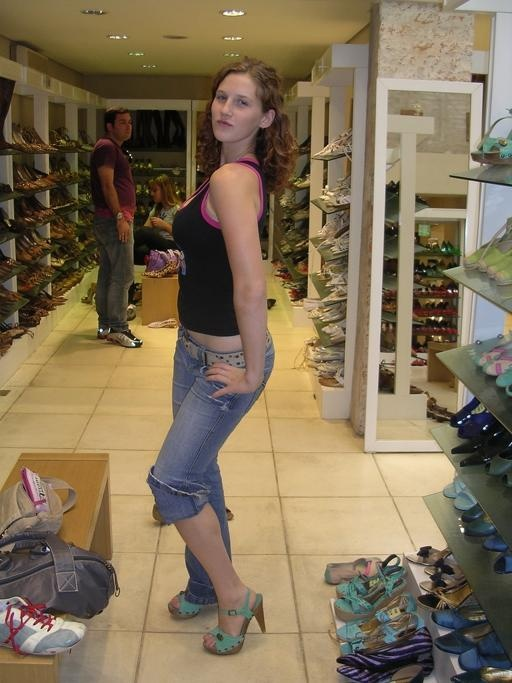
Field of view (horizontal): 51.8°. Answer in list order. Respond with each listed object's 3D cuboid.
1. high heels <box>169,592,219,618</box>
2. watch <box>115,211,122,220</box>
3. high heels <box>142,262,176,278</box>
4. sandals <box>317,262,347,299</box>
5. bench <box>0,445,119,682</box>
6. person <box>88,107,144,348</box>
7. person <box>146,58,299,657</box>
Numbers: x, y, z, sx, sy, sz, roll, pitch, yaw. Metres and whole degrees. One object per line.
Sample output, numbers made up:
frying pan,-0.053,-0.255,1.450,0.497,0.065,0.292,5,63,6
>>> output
high heels,-0.214,0.866,1.766,0.175,0.062,0.065,9,11,-27
watch,-1.282,-1.175,4.932,0.066,0.067,0.038,-2,-15,19
high heels,-1.036,-0.773,5.849,0.411,0.166,0.142,-12,1,-24
sandals,0.548,-0.433,3.746,0.099,0.179,0.260,2,-2,-5
bench,-0.521,0.589,1.399,0.170,0.258,0.523,1,28,3
person,-1.338,-1.074,5.100,0.483,2.214,0.547,0,13,-19
person,-0.090,0.142,1.423,0.328,1.664,0.515,4,12,2
